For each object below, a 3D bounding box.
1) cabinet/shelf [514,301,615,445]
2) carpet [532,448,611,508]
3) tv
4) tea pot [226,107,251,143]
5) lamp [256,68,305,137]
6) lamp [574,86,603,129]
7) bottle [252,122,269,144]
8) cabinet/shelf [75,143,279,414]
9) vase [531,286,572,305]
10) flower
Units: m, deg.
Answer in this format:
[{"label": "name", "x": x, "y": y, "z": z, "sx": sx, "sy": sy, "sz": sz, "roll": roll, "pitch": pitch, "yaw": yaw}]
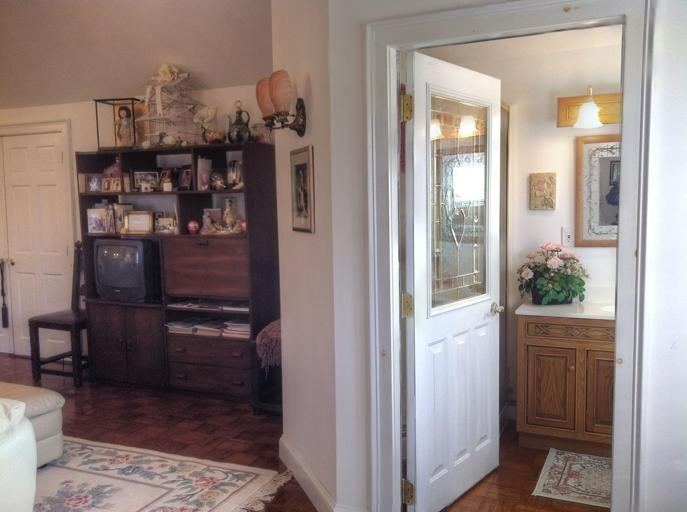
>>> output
[{"label": "cabinet/shelf", "x": 1.557, "y": 0.829, "z": 3.765, "sx": 1.006, "sy": 0.968, "sz": 0.528, "roll": 0, "pitch": -2, "yaw": 21}, {"label": "carpet", "x": 1.536, "y": 1.465, "z": 3.562, "sx": 0.330, "sy": 0.002, "sz": 0.377, "roll": 3, "pitch": 17, "yaw": 22}, {"label": "tv", "x": -2.079, "y": 0.129, "z": 5.257, "sx": 0.626, "sy": 0.594, "sz": 0.354, "roll": 1, "pitch": 4, "yaw": 21}, {"label": "tea pot", "x": -0.923, "y": -1.164, "z": 4.827, "sx": 0.205, "sy": 0.303, "sz": 0.207, "roll": -8, "pitch": 14, "yaw": 2}, {"label": "lamp", "x": -0.394, "y": -0.911, "z": 3.265, "sx": 0.280, "sy": 0.392, "sz": 0.346, "roll": -8, "pitch": 12, "yaw": -32}, {"label": "lamp", "x": 1.786, "y": -1.069, "z": 3.914, "sx": 0.185, "sy": 0.296, "sz": 0.236, "roll": 3, "pitch": 11, "yaw": 26}, {"label": "bottle", "x": -0.758, "y": -1.109, "z": 4.974, "sx": 0.179, "sy": 0.195, "sz": 0.228, "roll": -1, "pitch": 5, "yaw": -30}, {"label": "cabinet/shelf", "x": -1.468, "y": 0.263, "z": 4.956, "sx": 2.335, "sy": 2.706, "sz": 0.770, "roll": 1, "pitch": 2, "yaw": 16}, {"label": "vase", "x": 1.507, "y": 0.265, "z": 3.954, "sx": 0.168, "sy": 0.087, "sz": 0.167, "roll": 0, "pitch": 0, "yaw": -29}, {"label": "flower", "x": 1.587, "y": 0.126, "z": 4.062, "sx": 0.469, "sy": 0.428, "sz": 0.471, "roll": 5, "pitch": 6, "yaw": 37}]
